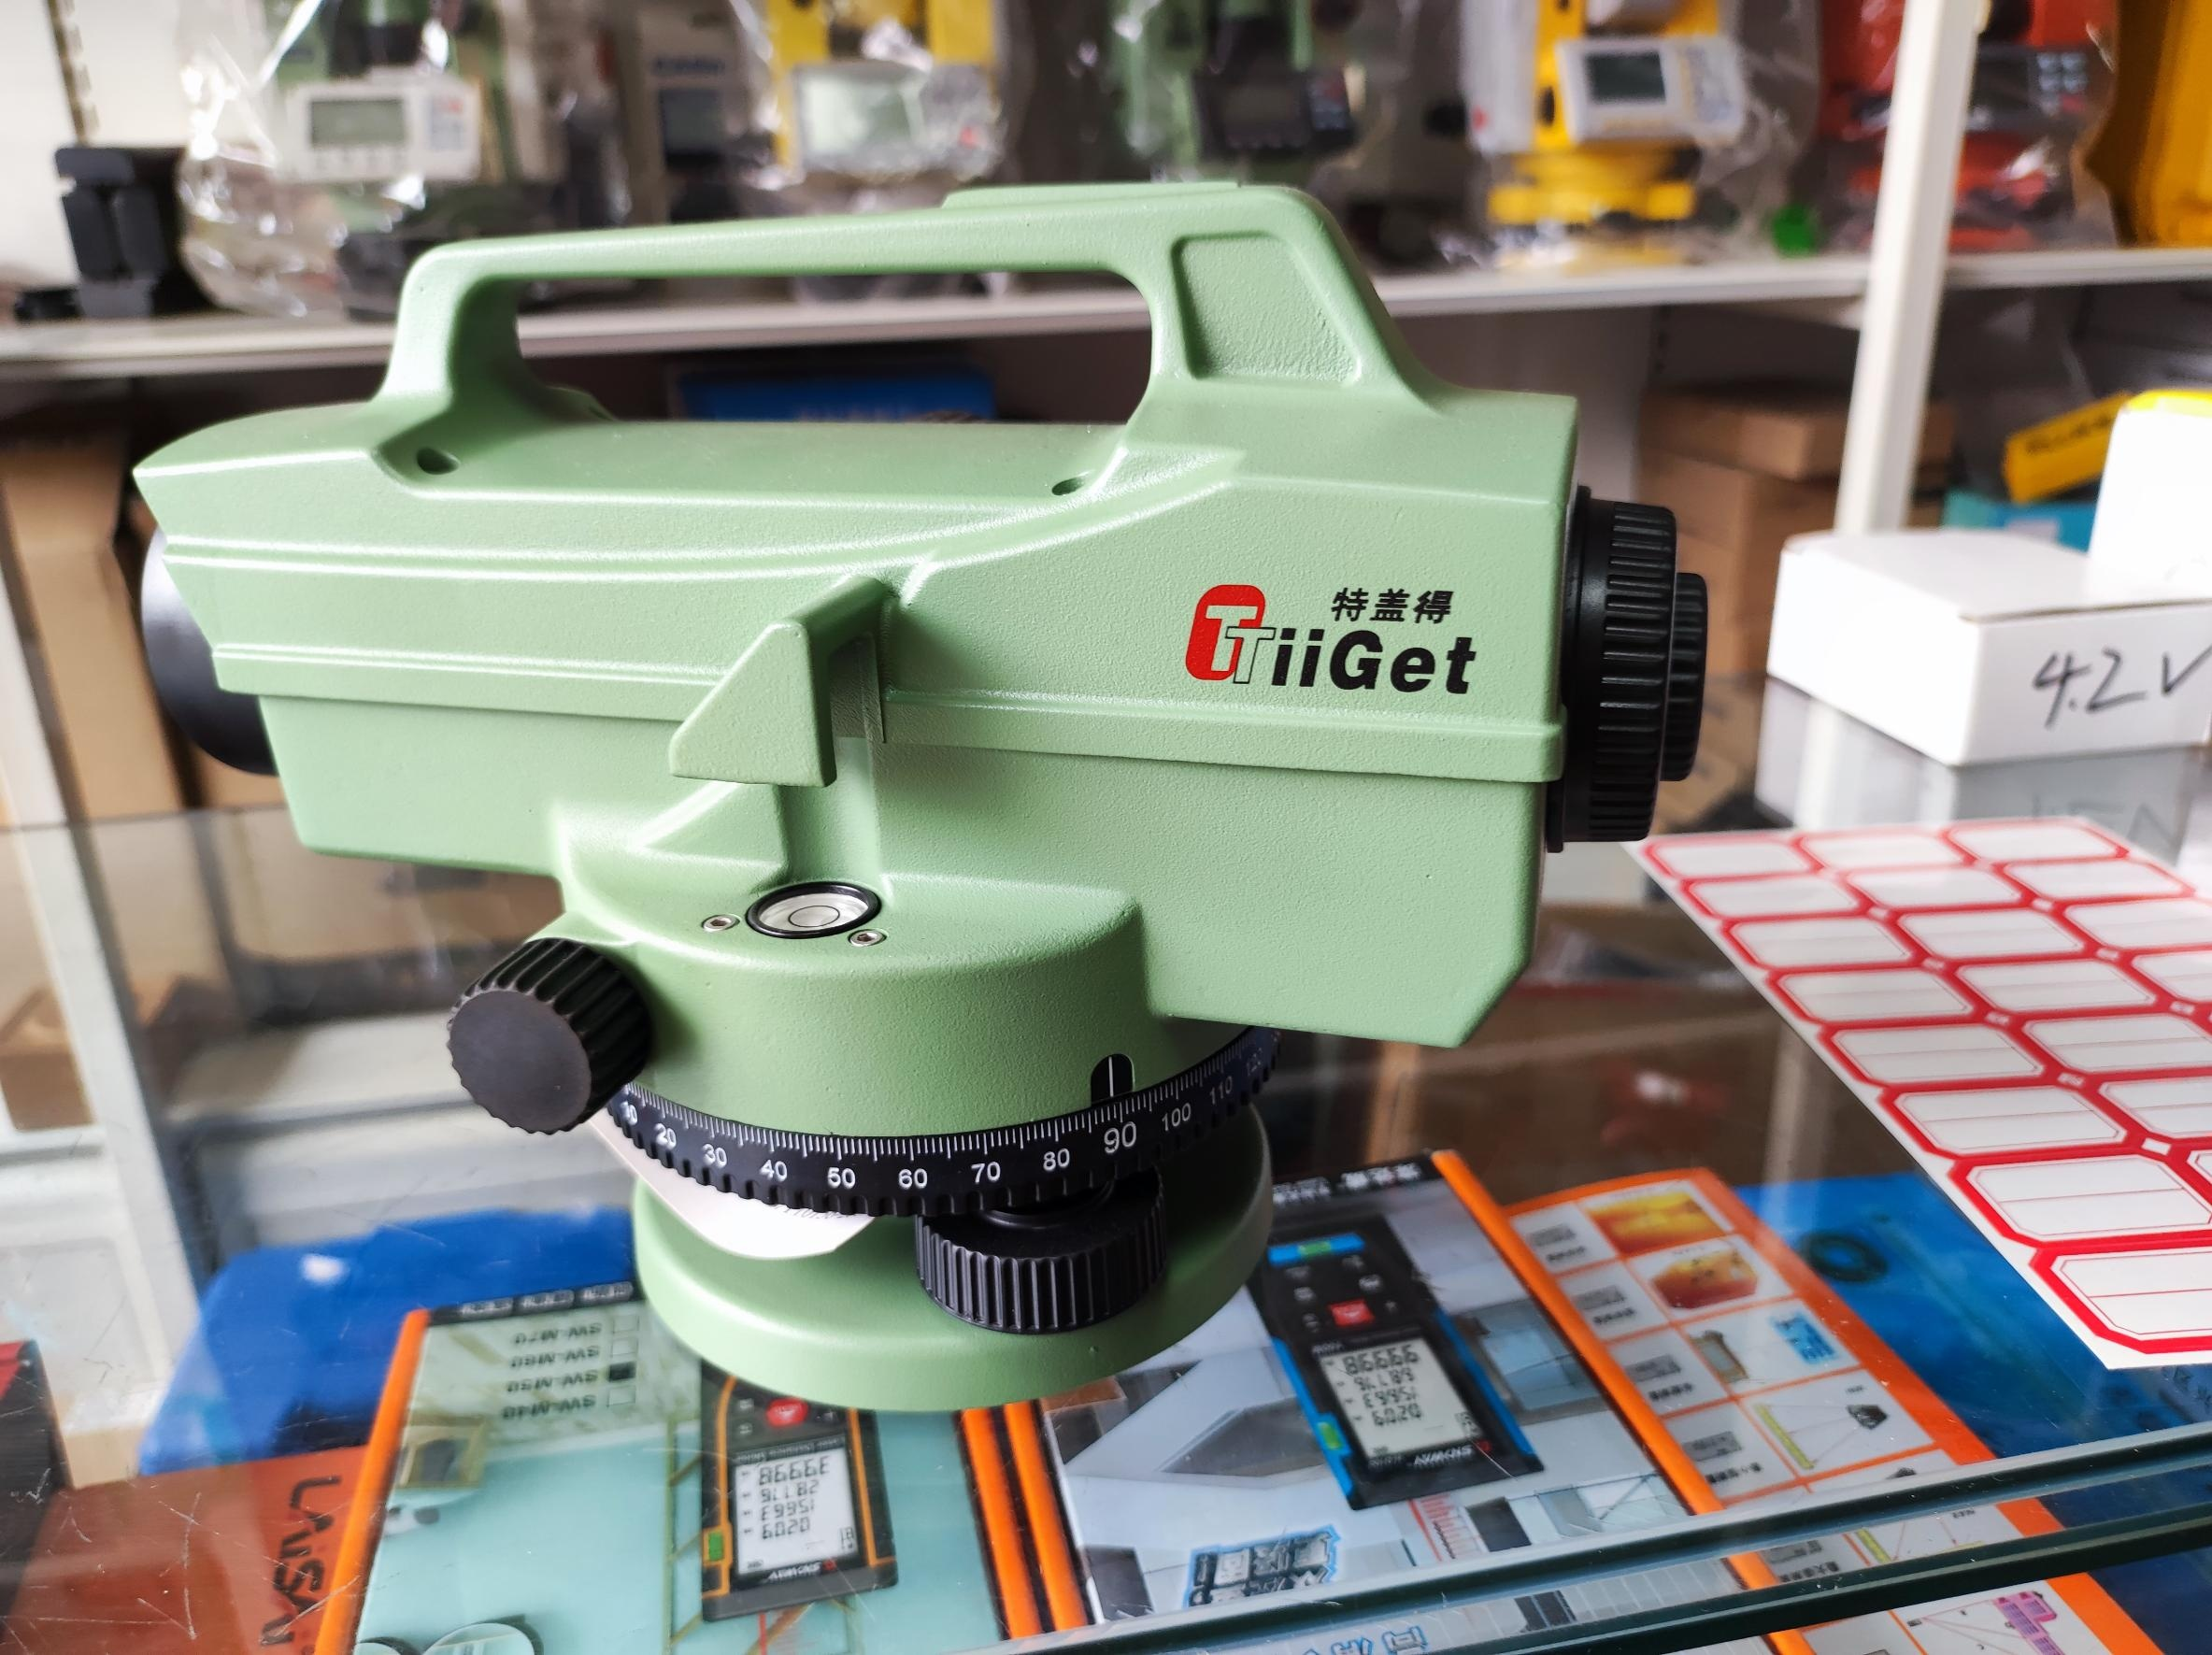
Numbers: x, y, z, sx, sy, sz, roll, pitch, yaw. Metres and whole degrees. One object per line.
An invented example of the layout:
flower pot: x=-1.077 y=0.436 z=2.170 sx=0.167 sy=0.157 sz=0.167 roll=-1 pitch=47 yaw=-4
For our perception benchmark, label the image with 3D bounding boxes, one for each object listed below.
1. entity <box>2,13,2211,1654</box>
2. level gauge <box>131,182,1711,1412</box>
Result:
entity: x=-0.089 y=-0.028 z=0.669 sx=0.529 sy=0.379 sz=0.307 roll=13 pitch=30 yaw=31
level gauge: x=-0.065 y=-0.027 z=0.728 sx=0.629 sy=0.433 sz=0.339 roll=5 pitch=21 yaw=14
